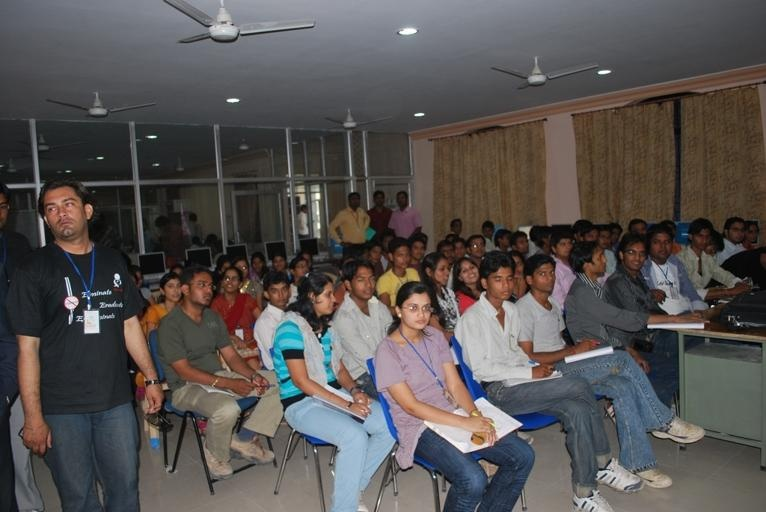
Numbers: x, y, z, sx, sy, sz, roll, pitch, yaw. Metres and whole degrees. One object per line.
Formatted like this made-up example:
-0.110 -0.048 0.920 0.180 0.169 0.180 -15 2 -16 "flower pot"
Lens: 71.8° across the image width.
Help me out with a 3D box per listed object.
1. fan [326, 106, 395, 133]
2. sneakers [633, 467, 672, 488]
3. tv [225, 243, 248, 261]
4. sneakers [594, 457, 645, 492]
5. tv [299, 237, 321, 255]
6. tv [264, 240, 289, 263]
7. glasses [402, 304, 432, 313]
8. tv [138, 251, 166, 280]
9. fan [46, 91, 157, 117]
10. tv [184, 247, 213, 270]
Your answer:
-0.428 -2.345 9.250 0.816 0.201 0.673 -4 5 -26 "fan"
2.012 1.655 3.960 0.137 0.095 0.249 4 -7 -44 "sneakers"
-2.478 -0.072 8.902 0.325 0.316 0.034 1 -8 -33 "tv"
1.737 1.632 3.928 0.144 0.183 0.378 -6 -2 -41 "sneakers"
-1.416 -0.188 10.465 0.386 0.317 0.413 -3 -1 -3 "tv"
-2.044 -0.132 9.872 0.536 0.532 0.521 -1 0 -7 "tv"
0.237 0.355 3.570 0.177 0.071 0.048 -4 4 -7 "glasses"
-3.939 0.113 9.068 0.510 0.473 0.354 -4 6 -43 "tv"
-3.924 -2.042 7.468 1.162 0.245 1.431 -6 4 -28 "fan"
-3.020 0.037 8.676 0.357 0.383 0.292 0 7 -37 "tv"
